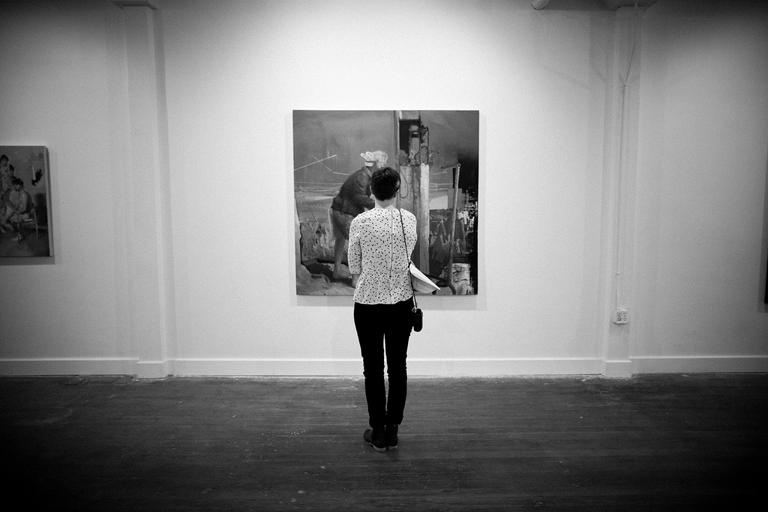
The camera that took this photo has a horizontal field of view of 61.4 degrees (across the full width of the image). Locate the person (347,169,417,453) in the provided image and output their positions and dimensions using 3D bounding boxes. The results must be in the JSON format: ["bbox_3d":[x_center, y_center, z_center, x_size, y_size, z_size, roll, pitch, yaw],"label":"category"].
[{"bbox_3d":[-0.015,0.513,6.233,0.631,2.696,0.367,-1,9,-1],"label":"person"}]
